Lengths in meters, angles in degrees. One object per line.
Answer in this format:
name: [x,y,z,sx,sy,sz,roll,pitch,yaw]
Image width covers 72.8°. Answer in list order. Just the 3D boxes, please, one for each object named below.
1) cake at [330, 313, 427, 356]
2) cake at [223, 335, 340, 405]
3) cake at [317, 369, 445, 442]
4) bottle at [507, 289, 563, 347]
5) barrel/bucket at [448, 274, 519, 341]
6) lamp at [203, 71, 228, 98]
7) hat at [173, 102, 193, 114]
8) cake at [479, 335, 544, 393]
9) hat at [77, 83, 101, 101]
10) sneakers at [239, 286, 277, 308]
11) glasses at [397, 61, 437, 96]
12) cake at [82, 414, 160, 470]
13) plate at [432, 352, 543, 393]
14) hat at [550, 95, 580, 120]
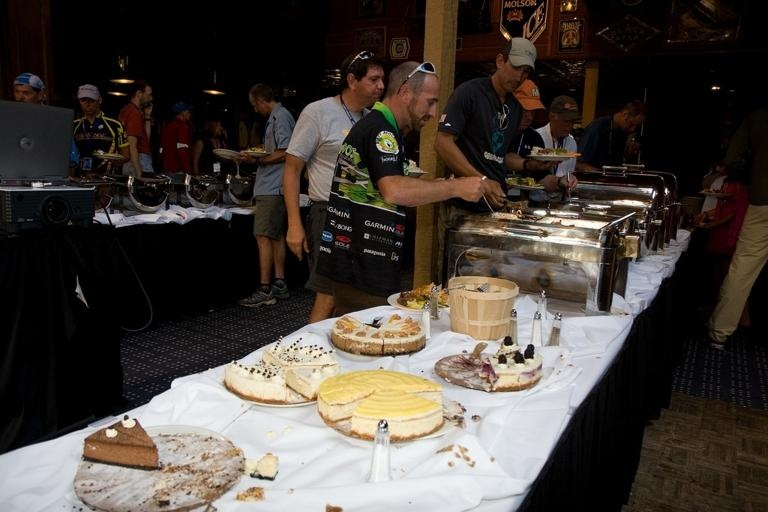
cake: [0.047,0.329,2.198,0.234,0.073,0.231,2,20,-18]
cake: [-0.358,0.411,1.876,0.332,0.100,0.253,-6,27,-44]
cake: [0.031,0.501,1.805,0.385,0.089,0.408,-4,9,-32]
bottle: [0.780,0.318,2.530,0.134,0.252,0.687,2,-3,26]
barrel/bucket: [0.426,0.208,2.354,0.296,0.211,0.280,1,8,0]
lamp: [-2.771,-2.843,8.734,0.449,0.445,0.428,-3,31,-16]
hat: [-2.751,-2.038,7.190,0.185,0.128,0.255,24,51,36]
cake: [0.496,0.406,1.997,0.163,0.083,0.220,0,9,14]
hat: [-3.065,-1.719,5.409,0.186,0.131,0.262,-2,9,-21]
sneakers: [-1.329,0.441,5.573,0.423,0.199,0.158,-1,10,-29]
glasses: [0.159,-0.877,2.548,0.184,0.135,0.075,-1,20,-7]
cake: [-0.758,0.566,1.551,0.197,0.059,0.177,13,11,19]
plate: [0.374,0.449,1.980,0.214,0.047,0.208,-7,12,-39]
hat: [1.621,-1.318,4.655,0.209,0.150,0.275,-18,33,-23]
